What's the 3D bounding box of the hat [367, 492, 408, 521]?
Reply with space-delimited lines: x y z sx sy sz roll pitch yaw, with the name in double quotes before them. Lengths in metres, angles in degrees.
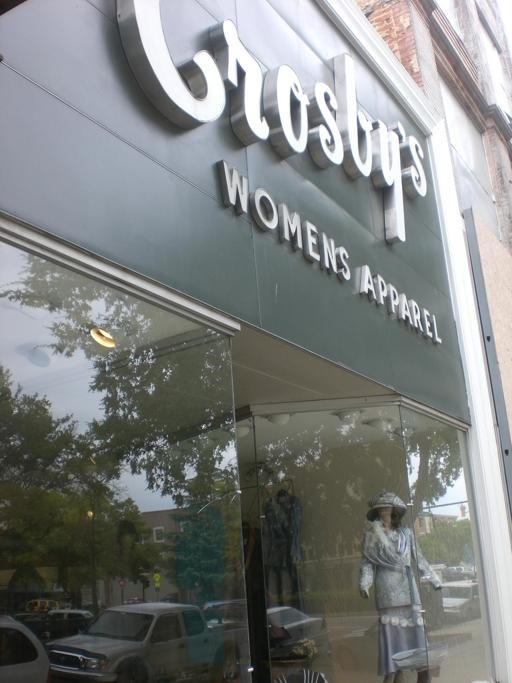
"hat" 1.194 1.510 5.014 0.239 0.173 0.278 3 -24 -8
